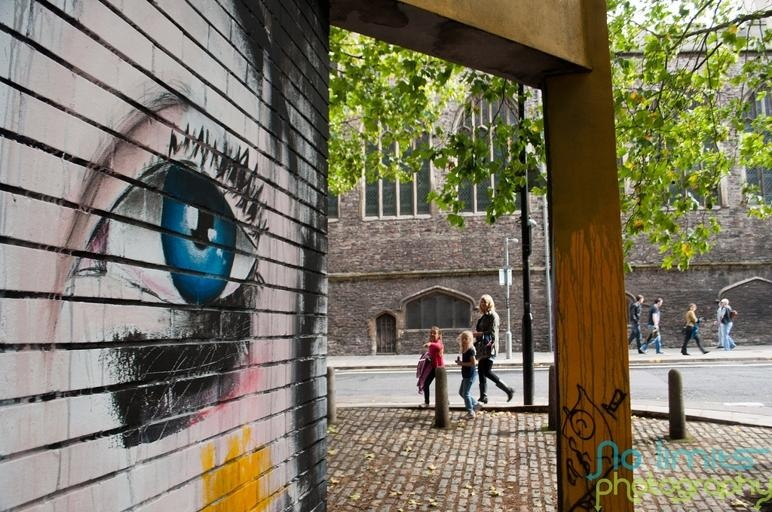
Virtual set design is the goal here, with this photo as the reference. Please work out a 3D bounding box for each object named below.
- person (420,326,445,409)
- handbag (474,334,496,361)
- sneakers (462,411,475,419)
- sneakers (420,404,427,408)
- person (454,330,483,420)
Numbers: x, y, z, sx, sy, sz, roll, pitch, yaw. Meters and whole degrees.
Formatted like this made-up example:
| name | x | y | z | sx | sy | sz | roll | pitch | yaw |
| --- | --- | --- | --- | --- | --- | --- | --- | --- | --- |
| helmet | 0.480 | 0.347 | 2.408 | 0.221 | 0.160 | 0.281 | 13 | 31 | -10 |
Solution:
| name | x | y | z | sx | sy | sz | roll | pitch | yaw |
| --- | --- | --- | --- | --- | --- | --- | --- | --- | --- |
| person | 0.794 | 1.958 | 10.927 | 0.365 | 1.398 | 1.116 | -1 | -8 | -10 |
| handbag | 1.675 | 1.570 | 10.629 | 0.442 | 0.662 | 0.350 | -1 | -9 | 2 |
| sneakers | 1.363 | 2.613 | 10.265 | 0.228 | 0.121 | 0.322 | -3 | -8 | 7 |
| sneakers | 0.677 | 2.709 | 11.276 | 0.132 | 0.062 | 0.051 | 3 | -10 | -7 |
| person | 1.381 | 1.974 | 10.472 | 0.352 | 1.399 | 0.908 | -3 | -7 | 7 |
